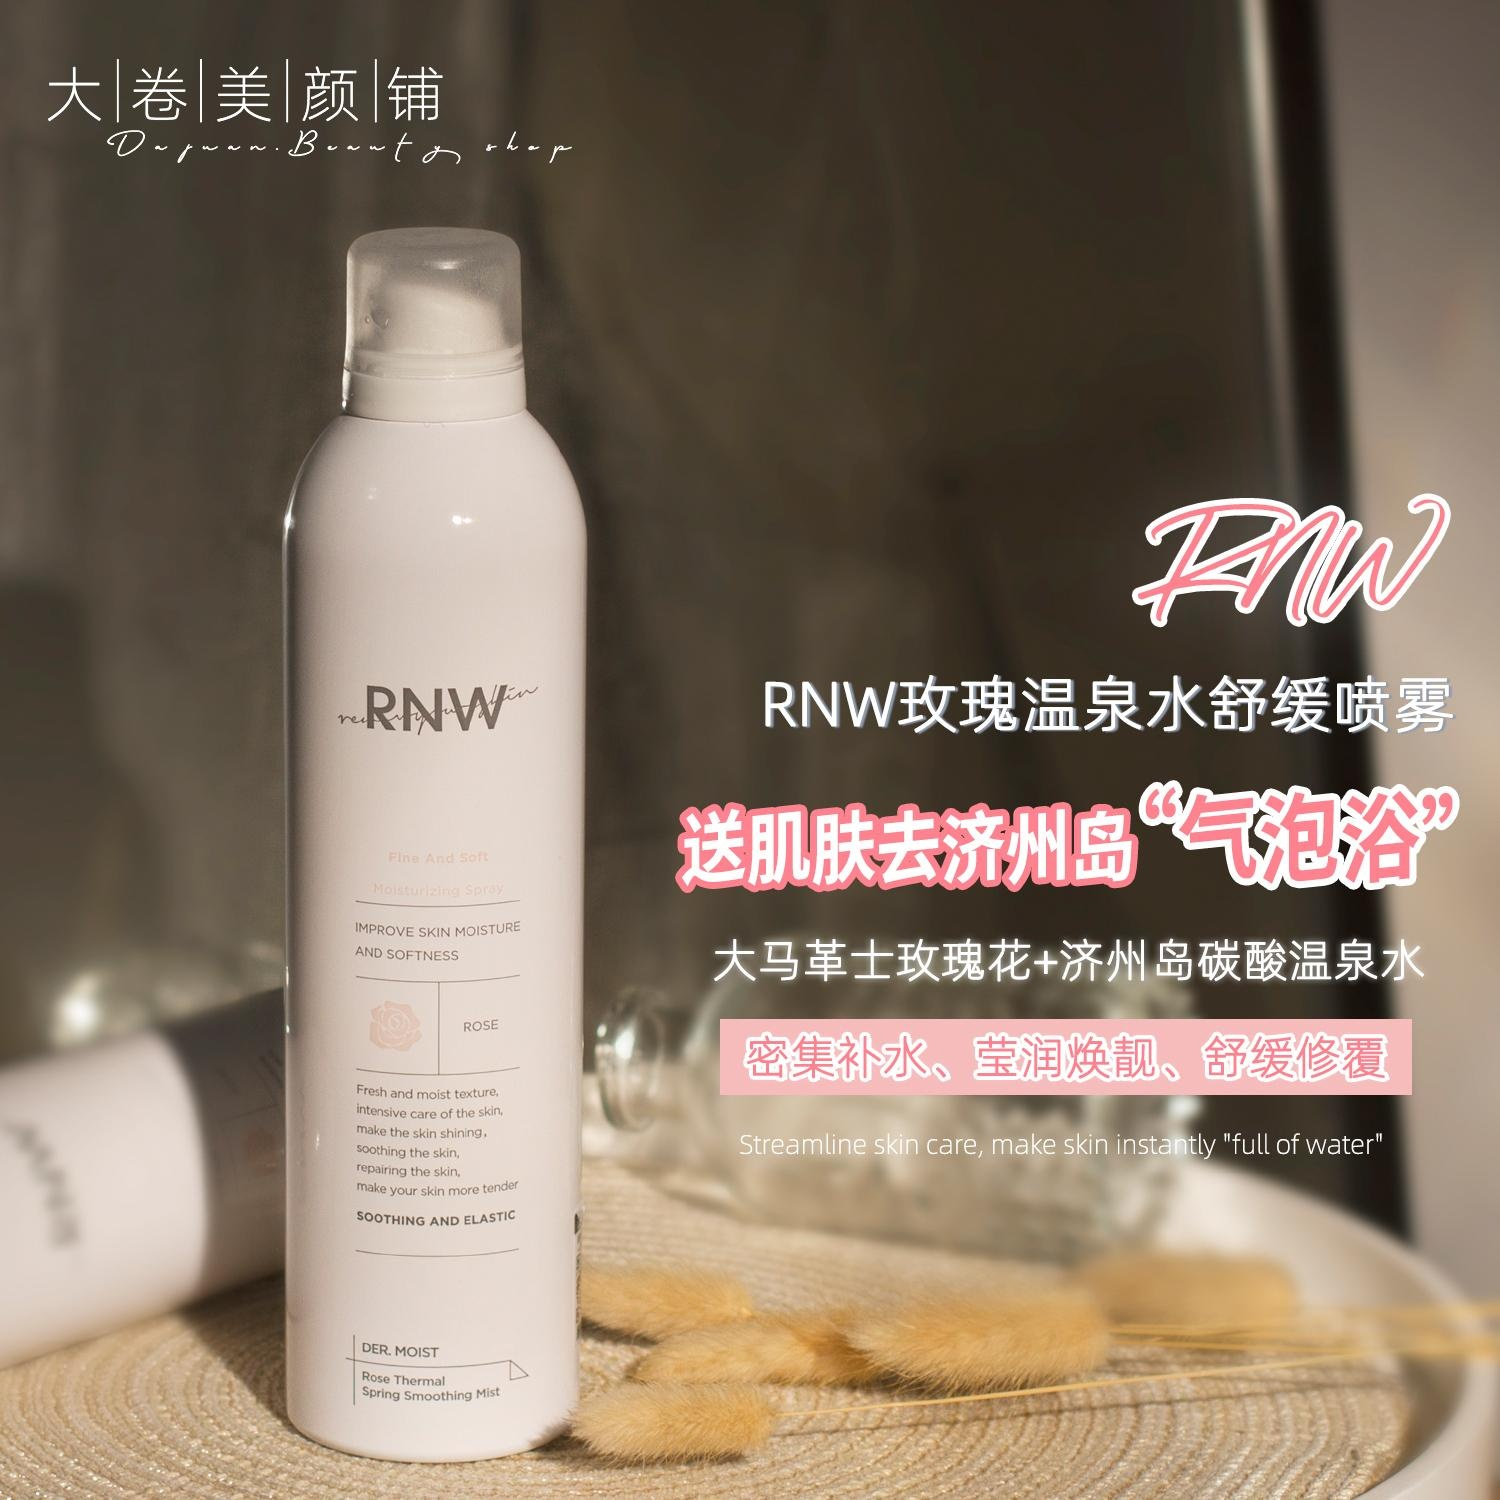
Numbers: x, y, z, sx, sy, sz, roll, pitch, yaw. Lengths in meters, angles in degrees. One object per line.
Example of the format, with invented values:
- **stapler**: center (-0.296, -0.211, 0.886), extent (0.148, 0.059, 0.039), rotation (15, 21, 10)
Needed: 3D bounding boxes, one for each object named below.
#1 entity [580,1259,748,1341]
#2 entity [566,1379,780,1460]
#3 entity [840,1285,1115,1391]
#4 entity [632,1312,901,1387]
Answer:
- **entity**: center (-0.027, 0.164, 0.522), extent (0.046, 0.012, 0.021), rotation (1, 33, -3)
- **entity**: center (-0.021, 0.172, 0.469), extent (0.052, 0.016, 0.022), rotation (-3, 10, -14)
- **entity**: center (0.067, 0.170, 0.528), extent (0.097, 0.022, 0.027), rotation (0, 30, -17)
- **entity**: center (0.001, 0.173, 0.506), extent (0.071, 0.016, 0.023), rotation (2, 13, -12)
